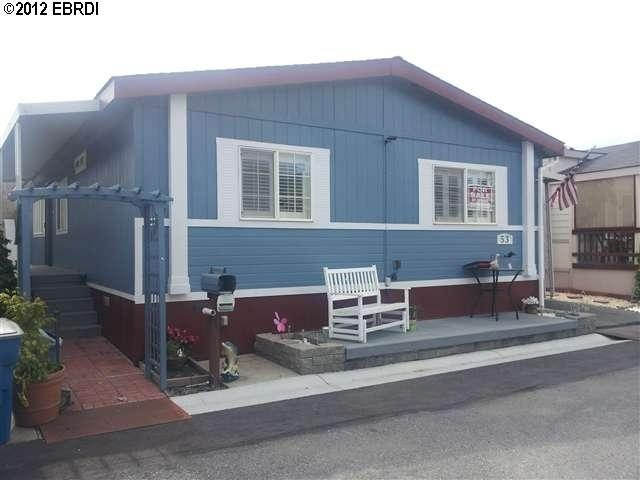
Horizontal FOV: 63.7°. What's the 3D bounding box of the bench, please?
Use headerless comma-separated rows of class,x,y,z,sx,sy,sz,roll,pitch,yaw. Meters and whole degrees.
bench,0.884,1.137,9.484,0.922,1.242,1.761,-4,-3,42

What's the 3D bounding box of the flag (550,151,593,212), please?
flag,8.019,-1.929,16.762,1.149,2.050,5.980,4,8,27

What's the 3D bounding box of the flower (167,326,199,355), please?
flower,-2.323,1.646,8.463,0.460,0.396,0.468,7,-6,-34

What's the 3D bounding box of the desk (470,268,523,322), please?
desk,3.830,1.267,11.467,1.103,1.362,1.085,6,-7,-29

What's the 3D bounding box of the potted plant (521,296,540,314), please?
potted plant,4.735,1.471,11.756,0.356,0.368,0.280,-1,-1,1
